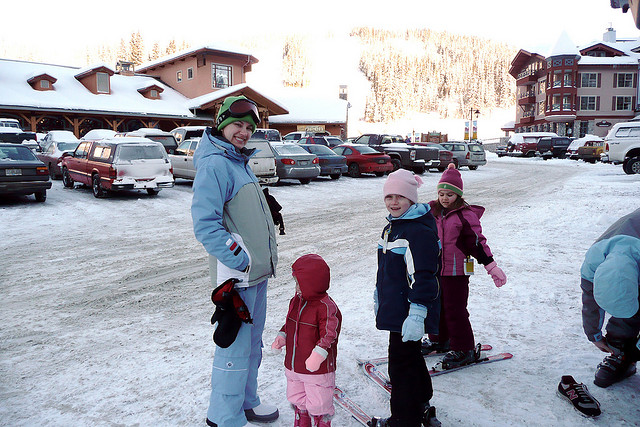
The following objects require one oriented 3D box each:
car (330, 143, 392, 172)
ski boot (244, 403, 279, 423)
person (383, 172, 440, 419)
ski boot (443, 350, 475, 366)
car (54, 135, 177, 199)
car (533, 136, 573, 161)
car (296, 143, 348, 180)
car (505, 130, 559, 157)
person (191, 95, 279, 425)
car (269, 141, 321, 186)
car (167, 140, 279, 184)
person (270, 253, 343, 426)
[{"bbox_3d":[2.101,-2.512,20.209,1.235,0.873,2.632,-7,18,-31],"label":"car"},{"bbox_3d":[-0.545,1.866,4.014,0.305,0.139,0.136,-1,6,-4],"label":"ski boot"},{"bbox_3d":[0.799,0.803,3.856,0.492,2.251,0.707,1,13,8],"label":"person"},{"bbox_3d":[1.499,1.578,4.666,0.390,0.165,0.128,1,-1,-6],"label":"ski boot"},{"bbox_3d":[-7.000,-1.572,14.532,4.522,1.922,1.649,11,17,39],"label":"car"},{"bbox_3d":[19.613,-5.525,36.431,2.696,1.381,1.597,-11,16,-18],"label":"car"},{"bbox_3d":[0.441,-2.262,18.709,1.031,0.799,2.380,-10,20,-37],"label":"car"},{"bbox_3d":[20.553,-6.256,40.315,5.096,2.321,2.488,-5,13,-3],"label":"car"},{"bbox_3d":[-0.727,0.481,3.804,0.690,2.960,0.824,-2,13,-7],"label":"person"},{"bbox_3d":[-0.885,-1.970,16.876,1.155,0.916,2.489,-8,19,-29],"label":"car"},{"bbox_3d":[-3.843,-2.020,16.122,4.104,1.591,2.281,17,20,36],"label":"car"},{"bbox_3d":[-0.112,1.185,3.854,0.561,1.609,0.390,9,16,36],"label":"person"}]
